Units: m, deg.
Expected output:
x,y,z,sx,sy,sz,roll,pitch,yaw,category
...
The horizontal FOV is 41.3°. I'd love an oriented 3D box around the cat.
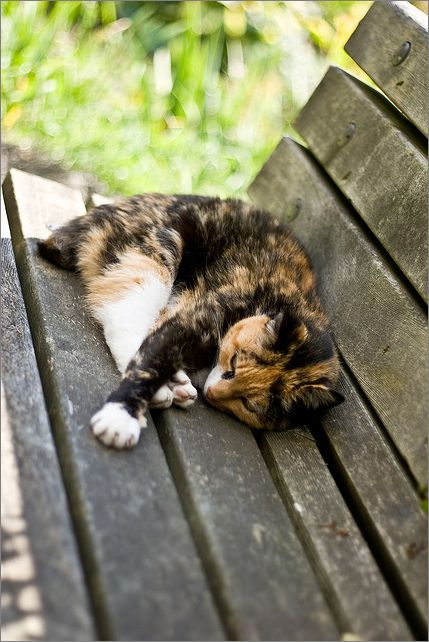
x,y,z,sx,sy,sz,roll,pitch,yaw,category
-0.060,-0.049,2.023,0.862,0.382,1.226,5,33,-30,cat
